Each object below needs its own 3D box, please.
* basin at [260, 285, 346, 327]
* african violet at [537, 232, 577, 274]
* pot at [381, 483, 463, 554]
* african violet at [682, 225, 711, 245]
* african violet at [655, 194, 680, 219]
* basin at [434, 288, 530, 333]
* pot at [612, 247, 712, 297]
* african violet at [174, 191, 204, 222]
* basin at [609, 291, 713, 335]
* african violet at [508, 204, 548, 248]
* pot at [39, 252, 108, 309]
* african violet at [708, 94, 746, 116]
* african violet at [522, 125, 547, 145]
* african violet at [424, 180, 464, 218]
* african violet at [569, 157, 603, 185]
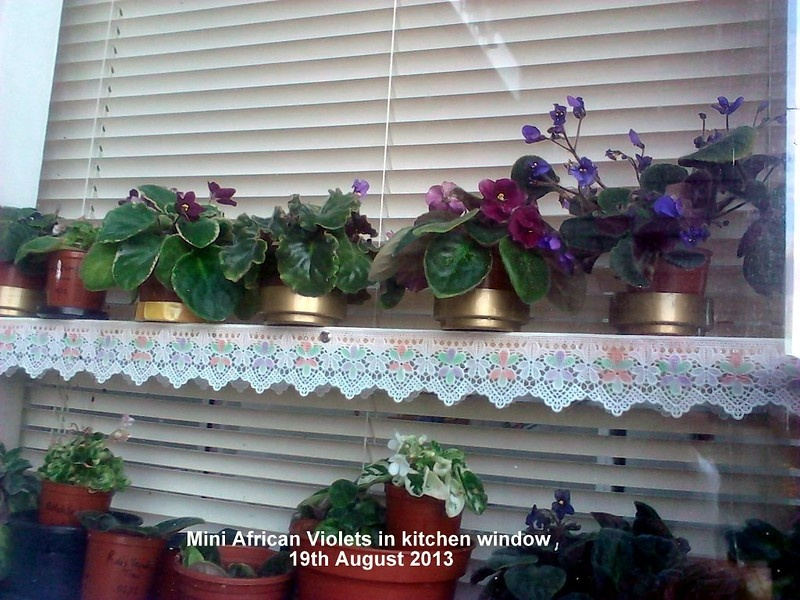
[{"bbox_3d":[-0.226,0.006,1.499,0.218,0.082,0.217,4,-2,0],"label":"basin"},{"bbox_3d":[0.308,-0.092,1.297,0.055,0.084,0.033,-20,14,40],"label":"african violet"},{"bbox_3d":[0.047,0.450,1.367,0.120,0.095,0.127,1,-8,0],"label":"pot"},{"bbox_3d":[0.551,-0.119,1.230,0.067,0.036,0.013,7,-12,-21],"label":"african violet"},{"bbox_3d":[0.494,-0.171,1.223,0.045,0.043,0.011,4,-12,-5],"label":"african violet"},{"bbox_3d":[0.164,0.025,1.346,0.191,0.080,0.092,2,-11,7],"label":"basin"},{"bbox_3d":[0.531,-0.074,1.315,0.157,0.114,0.142,-7,19,4],"label":"pot"},{"bbox_3d":[-0.464,-0.205,1.460,0.069,0.066,0.047,9,-13,-27],"label":"african violet"},{"bbox_3d":[0.511,0.030,1.298,0.187,0.087,0.055,-1,-12,21],"label":"basin"},{"bbox_3d":[0.245,-0.142,1.281,0.078,0.077,0.037,-33,17,-7],"label":"african violet"},{"bbox_3d":[-0.822,-0.036,1.689,0.147,0.138,0.135,1,-17,0],"label":"pot"},{"bbox_3d":[0.668,-0.390,1.350,0.048,0.021,0.048,1,-2,2],"label":"african violet"},{"bbox_3d":[0.286,-0.343,1.413,0.047,0.023,0.060,9,4,-4],"label":"african violet"},{"bbox_3d":[0.093,-0.209,1.367,0.084,0.079,0.055,0,-12,15],"label":"african violet"},{"bbox_3d":[0.380,-0.263,1.367,0.060,0.066,0.034,2,-12,8],"label":"african violet"}]
